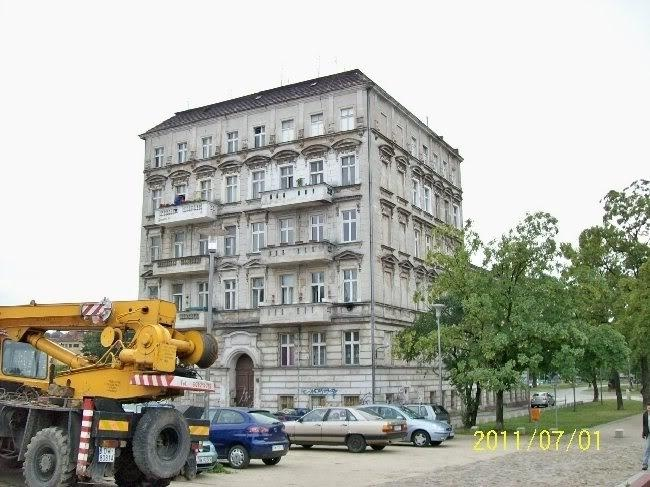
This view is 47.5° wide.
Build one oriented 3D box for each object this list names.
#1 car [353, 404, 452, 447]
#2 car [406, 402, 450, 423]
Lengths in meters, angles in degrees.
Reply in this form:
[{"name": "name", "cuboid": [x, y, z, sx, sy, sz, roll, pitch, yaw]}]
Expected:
[{"name": "car", "cuboid": [4.248, 8.545, 35.112, 4.665, 1.718, 2.095, -5, -8, 15]}, {"name": "car", "cuboid": [5.233, 8.457, 37.392, 1.772, 0.947, 1.092, 1, -11, 10]}]
